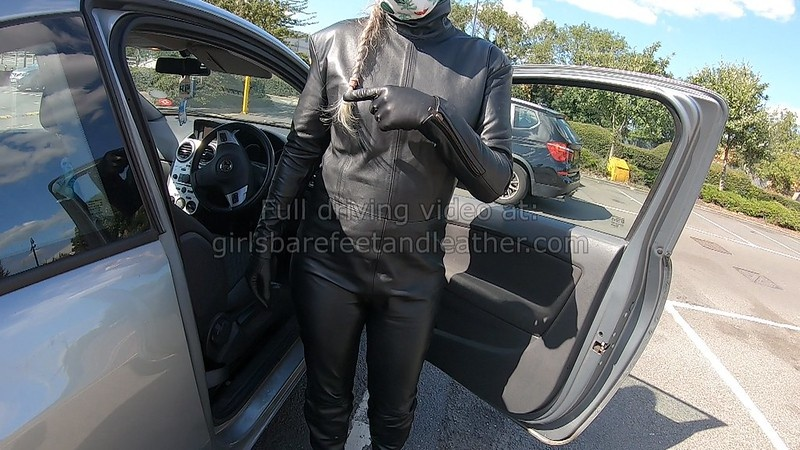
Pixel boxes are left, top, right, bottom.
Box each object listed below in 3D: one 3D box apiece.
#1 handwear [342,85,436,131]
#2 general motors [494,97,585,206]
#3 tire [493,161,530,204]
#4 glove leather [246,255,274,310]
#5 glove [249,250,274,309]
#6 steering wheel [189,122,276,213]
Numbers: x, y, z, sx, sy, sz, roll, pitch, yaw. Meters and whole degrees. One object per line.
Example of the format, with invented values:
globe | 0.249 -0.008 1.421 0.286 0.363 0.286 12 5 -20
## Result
handwear | -0.042 -0.463 1.539 0.385 0.165 0.097 8 24 0
general motors | 0.659 -0.440 2.286 0.722 0.365 0.415 23 29 33
tire | 0.550 -0.198 1.926 0.233 0.231 0.083 8 3 16
glove leather | -0.672 0.282 1.874 0.098 0.221 0.159 -8 -14 36
glove | -0.667 0.261 1.900 0.065 0.220 0.157 -3 -8 22
steering wheel | -1.073 -0.373 2.546 0.566 0.575 0.144 13 3 7
